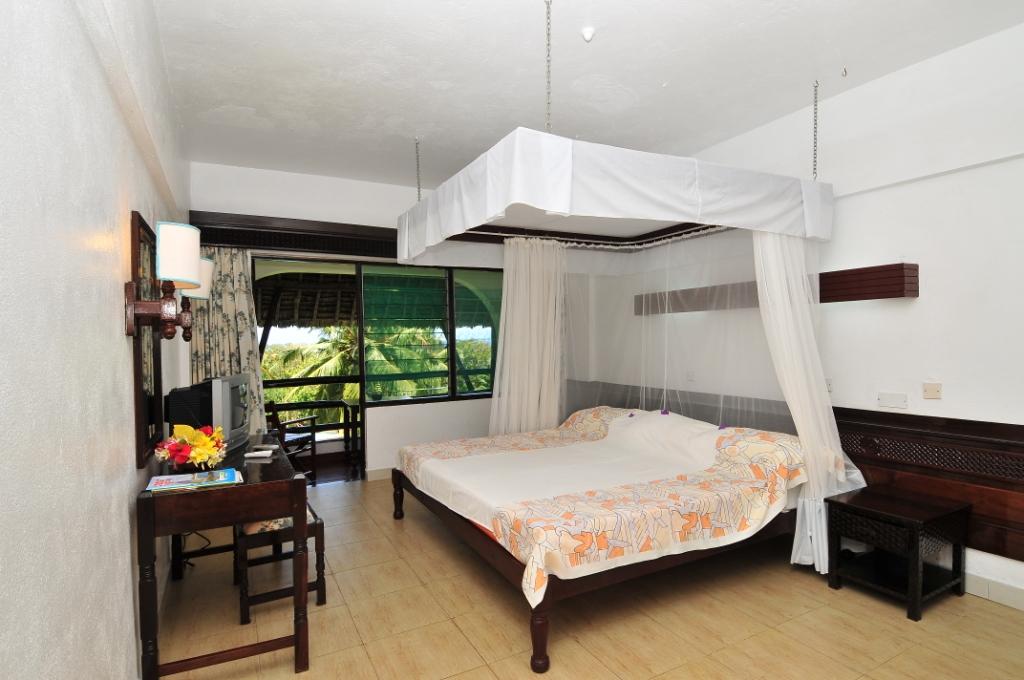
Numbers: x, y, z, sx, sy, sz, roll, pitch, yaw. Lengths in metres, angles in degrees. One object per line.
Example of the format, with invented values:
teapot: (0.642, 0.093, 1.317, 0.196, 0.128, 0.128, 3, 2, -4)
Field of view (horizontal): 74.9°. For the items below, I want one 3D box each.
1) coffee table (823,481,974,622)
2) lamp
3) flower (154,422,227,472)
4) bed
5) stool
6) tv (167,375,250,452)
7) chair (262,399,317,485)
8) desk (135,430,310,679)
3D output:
coffee table: (2.720, 1.481, 4.736, 0.739, 0.649, 0.729, 0, 2, -24)
lamp: (-2.195, -0.398, 4.245, 0.422, 0.832, 1.007, -6, 13, -23)
flower: (-2.038, 0.702, 4.334, 0.382, 0.235, 0.389, -11, -14, 40)
bed: (0.816, 1.244, 4.701, 1.897, 0.666, 1.865, 1, -2, -27)
stool: (-1.693, 1.665, 4.877, 0.610, 0.474, 1.041, 0, -19, -23)
tv: (-2.236, 0.528, 4.929, 0.503, 0.549, 0.581, -2, 0, -11)
chair: (-2.357, 1.058, 7.202, 0.578, 0.804, 0.585, 3, -2, -9)
desk: (-1.836, 1.327, 4.325, 0.998, 1.124, 1.682, 1, -4, -30)
